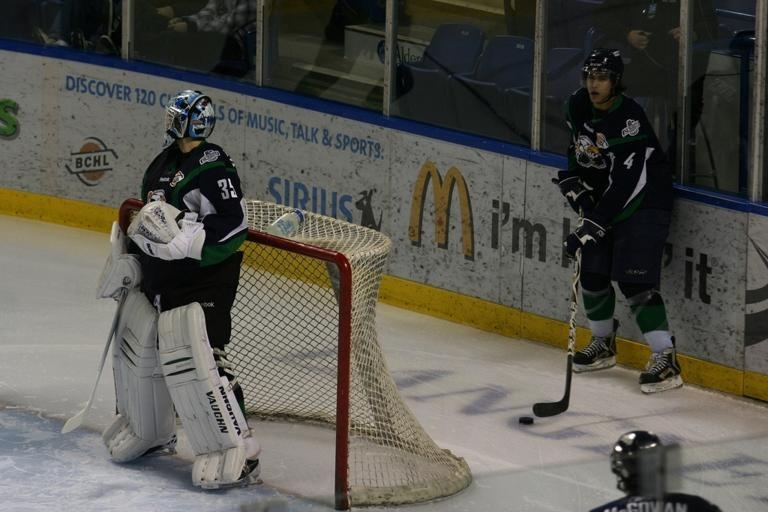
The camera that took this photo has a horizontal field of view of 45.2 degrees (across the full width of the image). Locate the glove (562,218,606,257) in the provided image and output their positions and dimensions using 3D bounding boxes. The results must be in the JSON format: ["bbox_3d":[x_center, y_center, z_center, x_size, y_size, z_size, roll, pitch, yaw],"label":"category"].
[{"bbox_3d":[1.130,-0.106,5.216,0.177,0.240,0.123,50,3,36],"label":"glove"}]

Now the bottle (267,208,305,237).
[{"bbox_3d":[-0.490,-0.159,4.601,0.137,0.143,0.318,8,7,7],"label":"bottle"}]

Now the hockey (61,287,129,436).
[{"bbox_3d":[-1.572,0.598,5.012,0.119,0.762,0.089,19,-3,41],"label":"hockey"}]

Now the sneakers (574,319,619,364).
[{"bbox_3d":[1.206,0.536,5.510,0.376,0.260,0.155,2,8,-32],"label":"sneakers"}]

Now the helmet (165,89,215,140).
[{"bbox_3d":[-0.920,-0.684,4.403,0.247,0.239,0.207,8,18,12],"label":"helmet"}]

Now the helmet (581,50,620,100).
[{"bbox_3d":[1.230,-1.026,5.136,0.201,0.281,0.227,10,8,25],"label":"helmet"}]

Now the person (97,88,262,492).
[{"bbox_3d":[-0.908,0.141,4.295,0.848,1.791,0.412,11,9,29],"label":"person"}]

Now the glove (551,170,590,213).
[{"bbox_3d":[1.094,-0.367,5.380,0.159,0.256,0.101,-15,-27,-22],"label":"glove"}]
